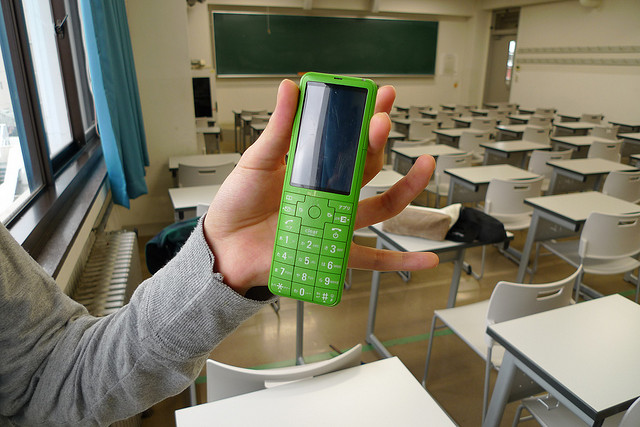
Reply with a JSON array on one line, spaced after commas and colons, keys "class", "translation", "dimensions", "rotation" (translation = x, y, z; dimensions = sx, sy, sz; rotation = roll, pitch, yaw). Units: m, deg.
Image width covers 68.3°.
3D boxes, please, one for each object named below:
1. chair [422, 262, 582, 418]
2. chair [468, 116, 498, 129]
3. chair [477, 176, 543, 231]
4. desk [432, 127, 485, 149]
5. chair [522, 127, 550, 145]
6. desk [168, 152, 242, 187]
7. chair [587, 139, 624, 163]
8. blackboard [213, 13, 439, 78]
[{"class": "chair", "translation": [1.047, 0.762, 2.766], "dimensions": [0.520, 1.040, 0.673], "rotation": [-15, 34, -16]}, {"class": "chair", "translation": [2.540, -1.407, 7.152], "dimensions": [0.410, 0.178, 0.306], "rotation": [-13, 16, -37]}, {"class": "chair", "translation": [1.565, -0.090, 3.834], "dimensions": [0.248, 0.461, 0.325], "rotation": [-7, 40, -1]}, {"class": "desk", "translation": [1.854, -1.010, 6.229], "dimensions": [0.452, 0.302, 0.245], "rotation": [22, 43, 39]}, {"class": "chair", "translation": [2.991, -1.074, 6.492], "dimensions": [0.241, 0.324, 0.279], "rotation": [2, 27, 4]}, {"class": "desk", "translation": [-1.121, -0.419, 4.524], "dimensions": [0.670, 0.342, 0.658], "rotation": [-4, 22, -12]}, {"class": "chair", "translation": [3.356, -0.749, 5.493], "dimensions": [0.406, 0.253, 0.176], "rotation": [-8, 22, -20]}, {"class": "blackboard", "translation": [0.232, -3.768, 10.688], "dimensions": [5.200, 1.401, 0.447], "rotation": [-6, 21, -16]}]
